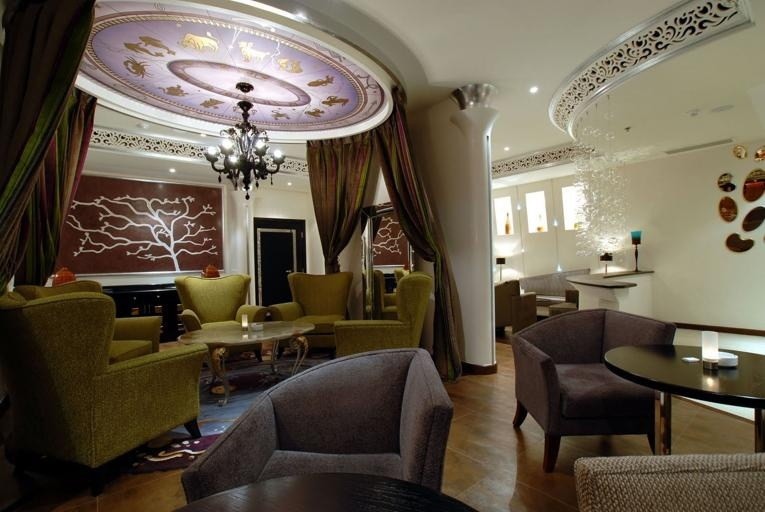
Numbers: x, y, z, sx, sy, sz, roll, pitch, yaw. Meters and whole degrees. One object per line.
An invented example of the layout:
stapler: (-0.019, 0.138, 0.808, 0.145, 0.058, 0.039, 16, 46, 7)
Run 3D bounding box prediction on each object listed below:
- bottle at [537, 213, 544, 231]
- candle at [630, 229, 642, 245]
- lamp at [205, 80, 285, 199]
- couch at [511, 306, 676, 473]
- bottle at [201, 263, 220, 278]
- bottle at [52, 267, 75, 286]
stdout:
bottle: (3.270, -0.714, 10.252, 0.085, 0.393, 0.179, -1, 0, -23)
candle: (4.381, -0.344, 8.590, 0.165, 0.250, 0.354, 0, 0, 26)
lamp: (-1.566, -1.358, 5.842, 0.922, 1.319, 0.872, 2, 7, 17)
couch: (1.646, 1.103, 4.427, 1.249, 1.378, 1.283, 1, -14, 1)
bottle: (-2.794, 0.242, 8.139, 0.261, 0.253, 0.260, -9, 7, -18)
bottle: (-4.080, 0.254, 6.357, 0.263, 0.316, 0.262, -1, -2, -18)
